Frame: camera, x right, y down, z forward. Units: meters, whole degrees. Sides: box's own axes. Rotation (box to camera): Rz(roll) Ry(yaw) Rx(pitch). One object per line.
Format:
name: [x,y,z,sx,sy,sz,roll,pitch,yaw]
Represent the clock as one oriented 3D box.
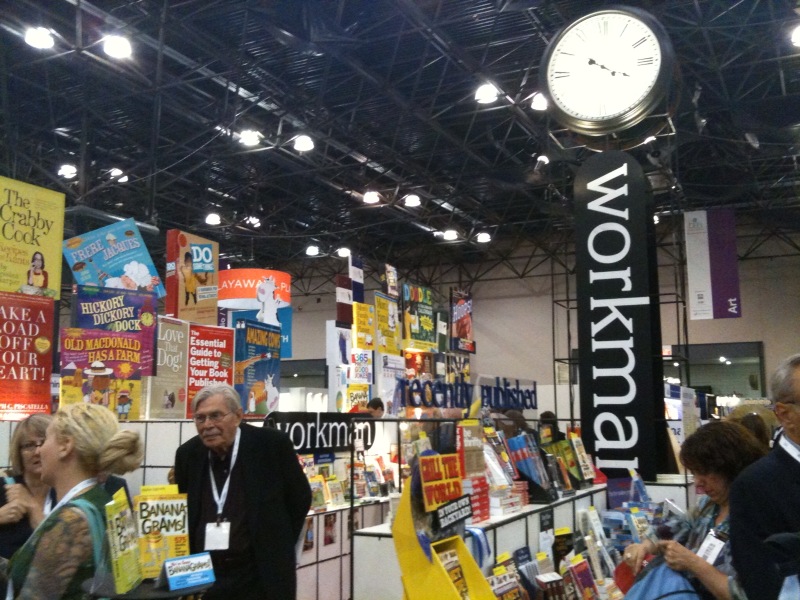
clock: [1.654,-1.729,5.234,1.114,1.053,0.327,24,15,33]
